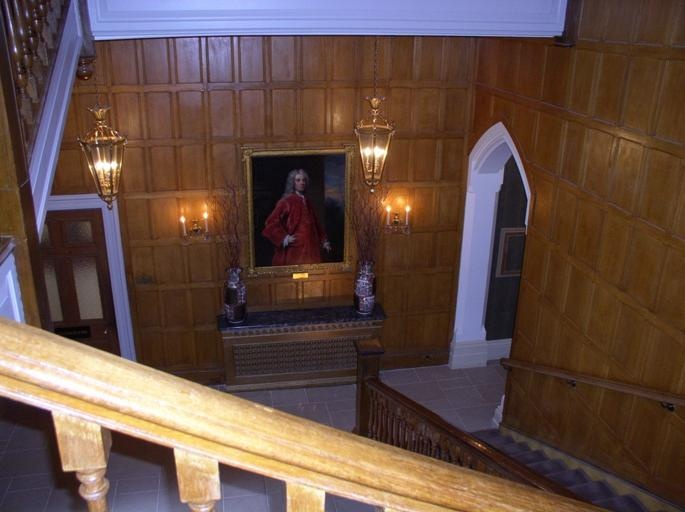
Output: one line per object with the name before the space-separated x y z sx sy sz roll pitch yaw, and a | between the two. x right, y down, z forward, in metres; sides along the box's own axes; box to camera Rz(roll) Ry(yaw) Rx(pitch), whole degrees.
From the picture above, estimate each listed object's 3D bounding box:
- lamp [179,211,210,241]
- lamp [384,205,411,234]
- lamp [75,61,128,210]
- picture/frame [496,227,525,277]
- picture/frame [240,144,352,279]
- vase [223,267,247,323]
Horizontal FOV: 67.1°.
lamp | -1.863 -0.393 6.441 0.330 0.348 0.122 -2 10 -9
lamp | 0.715 -0.493 6.825 0.345 0.361 0.116 -2 8 -16
lamp | -2.218 -1.063 4.768 0.399 1.169 0.393 -3 13 -12
picture/frame | 2.389 -0.042 7.347 0.384 0.758 0.116 -5 15 -11
picture/frame | -0.648 -0.644 6.610 1.637 1.942 0.176 -3 24 -11
vase | -1.399 0.479 6.614 0.278 0.744 0.293 -7 15 -16
